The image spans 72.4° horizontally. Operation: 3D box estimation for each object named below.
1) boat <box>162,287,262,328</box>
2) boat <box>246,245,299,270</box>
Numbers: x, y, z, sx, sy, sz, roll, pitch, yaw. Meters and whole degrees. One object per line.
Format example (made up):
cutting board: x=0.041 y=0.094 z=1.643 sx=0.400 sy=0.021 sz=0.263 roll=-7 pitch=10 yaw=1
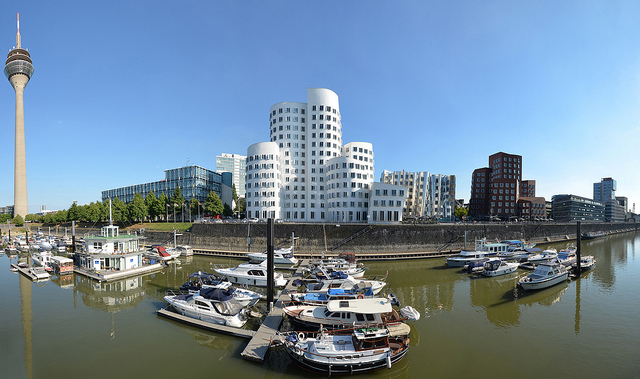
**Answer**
boat: x=-22.490 y=24.011 z=89.287 sx=14.796 sy=7.624 sz=2.179 roll=-1 pitch=-5 yaw=12
boat: x=-12.594 y=18.012 z=113.232 sx=16.635 sy=5.894 sz=4.854 roll=1 pitch=-2 yaw=37
